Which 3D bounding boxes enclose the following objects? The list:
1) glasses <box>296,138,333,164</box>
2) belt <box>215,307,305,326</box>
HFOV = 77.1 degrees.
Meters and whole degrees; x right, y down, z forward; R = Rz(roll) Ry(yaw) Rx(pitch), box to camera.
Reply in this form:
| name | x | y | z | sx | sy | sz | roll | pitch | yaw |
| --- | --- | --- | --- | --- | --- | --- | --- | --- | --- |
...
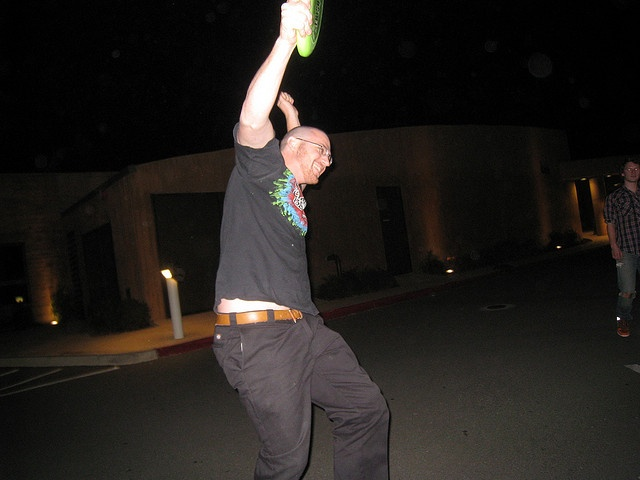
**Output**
| name | x | y | z | sx | sy | sz | roll | pitch | yaw |
| --- | --- | --- | --- | --- | --- | --- | --- | --- | --- |
| glasses | -0.022 | -0.665 | 2.939 | 0.177 | 0.060 | 0.182 | 24 | -1 | 32 |
| belt | -0.409 | 0.522 | 2.687 | 0.574 | 0.107 | 0.154 | -6 | 2 | -7 |
